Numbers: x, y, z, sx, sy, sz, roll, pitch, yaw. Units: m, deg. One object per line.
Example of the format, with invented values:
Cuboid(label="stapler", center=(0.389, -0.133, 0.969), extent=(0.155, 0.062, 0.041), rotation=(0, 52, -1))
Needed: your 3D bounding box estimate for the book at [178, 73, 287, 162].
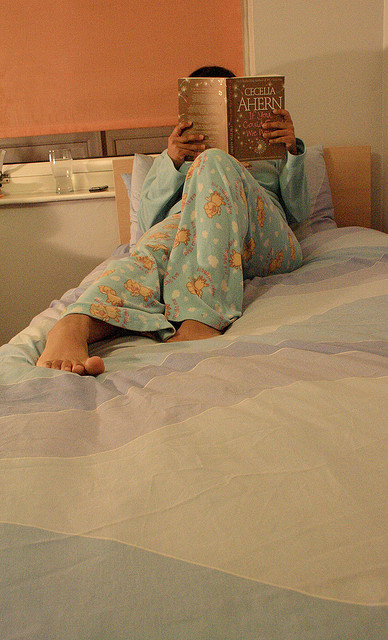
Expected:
Cuboid(label="book", center=(0.101, -0.523, 1.260), extent=(0.341, 0.245, 0.081), rotation=(0, 17, 5))

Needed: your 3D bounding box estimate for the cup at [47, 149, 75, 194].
Cuboid(label="cup", center=(-0.618, -0.703, 2.314), extent=(0.130, 0.209, 0.127), rotation=(-1, 7, 0))

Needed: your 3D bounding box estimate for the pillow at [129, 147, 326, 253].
Cuboid(label="pillow", center=(0.206, -0.530, 2.079), extent=(0.851, 0.424, 0.604), rotation=(1, 20, 22))
